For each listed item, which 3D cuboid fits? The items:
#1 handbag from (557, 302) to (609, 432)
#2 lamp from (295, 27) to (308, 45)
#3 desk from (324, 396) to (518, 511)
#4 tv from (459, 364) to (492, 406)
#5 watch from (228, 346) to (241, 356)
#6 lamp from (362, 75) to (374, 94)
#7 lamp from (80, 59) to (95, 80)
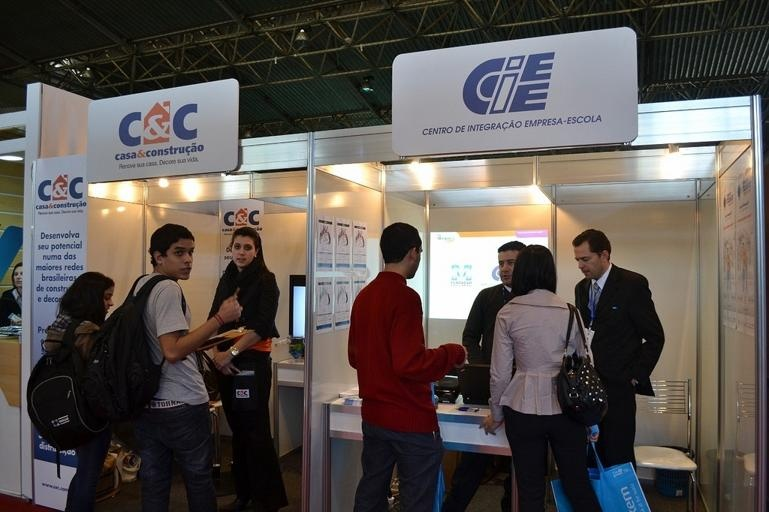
[{"bbox_3d":[1.294,0.737,3.873,0.311,0.817,0.198,3,-4,-24],"label":"handbag"},{"bbox_3d":[-1.387,-3.732,9.781,0.190,0.202,0.134,-8,-33,3],"label":"lamp"},{"bbox_3d":[0.210,1.412,4.189,1.103,0.990,0.634,0,3,12],"label":"desk"},{"bbox_3d":[0.706,0.941,4.502,0.322,0.359,0.261,1,1,18],"label":"tv"},{"bbox_3d":[-1.169,0.746,4.548,0.065,0.070,0.037,8,3,-8],"label":"watch"},{"bbox_3d":[-0.344,-3.360,11.386,0.194,0.221,0.203,-3,-7,24],"label":"lamp"},{"bbox_3d":[-5.708,-3.578,11.253,0.211,0.083,1.015,3,-3,-30],"label":"lamp"}]
